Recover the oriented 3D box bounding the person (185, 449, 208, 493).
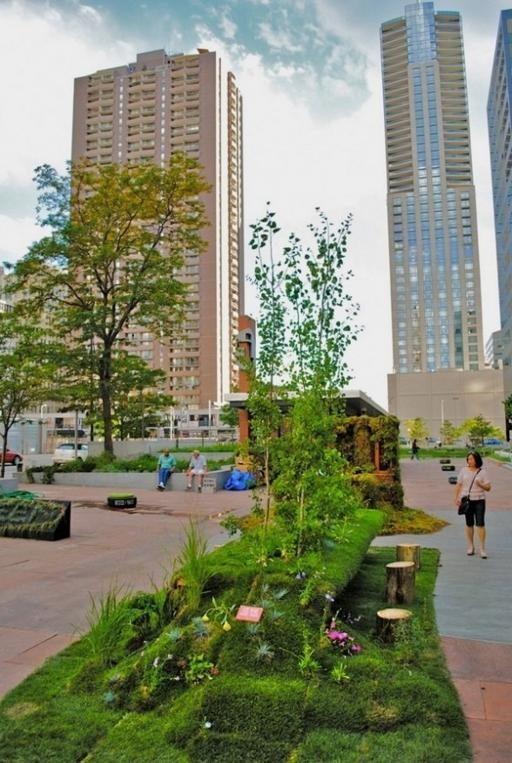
[{"bbox_3d":[-1.801,2.706,19.913,0.587,1.285,1.533,0,-4,-7],"label":"person"}]

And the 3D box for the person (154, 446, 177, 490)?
[{"bbox_3d":[-2.889,2.790,20.773,0.564,1.306,0.675,13,-33,-8],"label":"person"}]

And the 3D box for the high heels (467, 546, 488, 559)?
[{"bbox_3d":[3.206,2.483,9.422,0.123,0.161,0.385,-3,-19,-2],"label":"high heels"}]

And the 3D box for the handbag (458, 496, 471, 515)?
[{"bbox_3d":[2.976,1.795,9.387,0.091,0.257,0.198,7,6,37],"label":"handbag"}]

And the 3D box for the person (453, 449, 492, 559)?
[{"bbox_3d":[3.204,1.788,9.645,0.473,1.543,1.162,-2,-4,16],"label":"person"}]
